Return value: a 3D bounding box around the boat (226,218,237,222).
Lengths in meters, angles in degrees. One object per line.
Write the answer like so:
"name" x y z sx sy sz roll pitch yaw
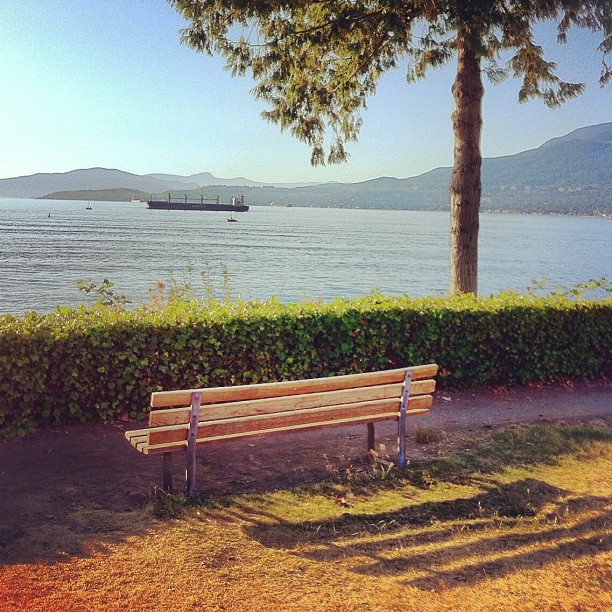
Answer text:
"boat" -18.146 -20.809 181.203 1.867 0.558 14.811 0 7 -7
